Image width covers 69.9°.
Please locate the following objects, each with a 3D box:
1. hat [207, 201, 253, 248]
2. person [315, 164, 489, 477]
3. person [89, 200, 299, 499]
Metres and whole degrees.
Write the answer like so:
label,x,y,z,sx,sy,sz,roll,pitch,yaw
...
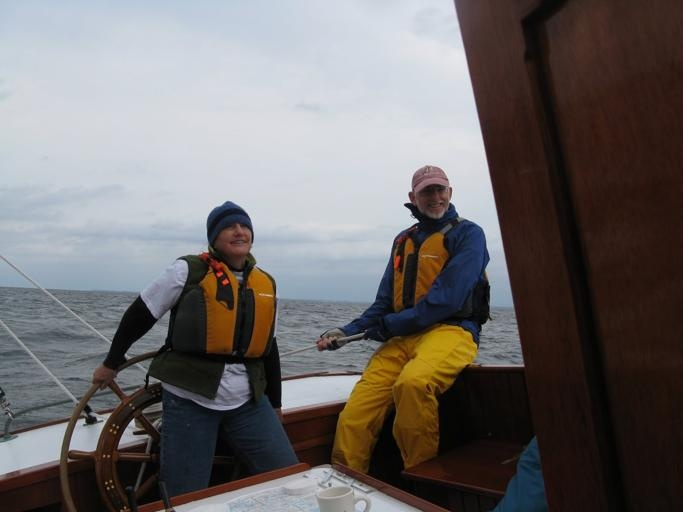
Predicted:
label,x,y,z,sx,sy,sz,roll,pitch,yaw
hat,-0.629,-0.159,2.783,0.251,0.217,0.244,-11,-12,36
person,0.498,0.491,3.260,0.751,2.018,0.782,22,-19,-41
person,-0.852,0.489,2.607,0.868,1.629,0.854,1,8,-36
